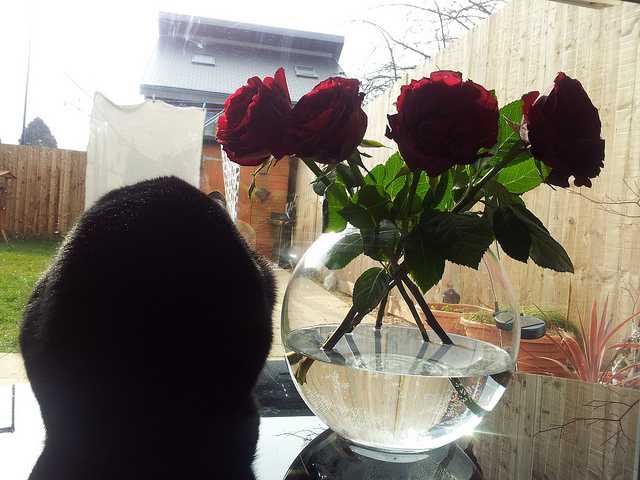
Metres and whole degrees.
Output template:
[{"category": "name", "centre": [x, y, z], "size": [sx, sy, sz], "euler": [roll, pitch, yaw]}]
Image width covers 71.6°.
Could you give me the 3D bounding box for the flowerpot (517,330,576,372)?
[{"category": "flowerpot", "centre": [0.687, 0.338, 1.357], "size": [0.180, 0.108, 0.098], "euler": [-7, 13, -37]}]

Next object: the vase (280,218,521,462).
[{"category": "vase", "centre": [0.126, 0.090, 0.779], "size": [0.324, 0.345, 0.348], "euler": [2, 8, 10]}]

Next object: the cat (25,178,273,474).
[{"category": "cat", "centre": [-0.281, 0.174, 0.740], "size": [0.300, 0.553, 0.224], "euler": [2, -4, -10]}]

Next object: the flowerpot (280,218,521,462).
[{"category": "flowerpot", "centre": [0.138, 0.108, 0.779], "size": [0.317, 0.351, 0.351], "euler": [3, 6, 15]}]
